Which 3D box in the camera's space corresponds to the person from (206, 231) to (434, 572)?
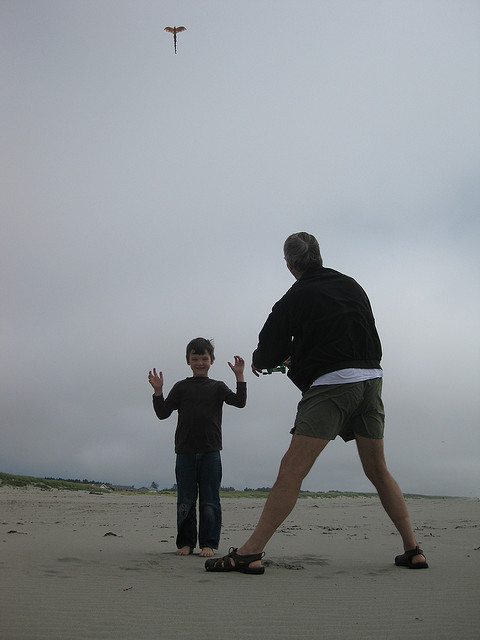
[{"bbox_3d":[0.484,0.448,4.396,1.151,2.058,0.488,7,-10,-28],"label":"person"}]
